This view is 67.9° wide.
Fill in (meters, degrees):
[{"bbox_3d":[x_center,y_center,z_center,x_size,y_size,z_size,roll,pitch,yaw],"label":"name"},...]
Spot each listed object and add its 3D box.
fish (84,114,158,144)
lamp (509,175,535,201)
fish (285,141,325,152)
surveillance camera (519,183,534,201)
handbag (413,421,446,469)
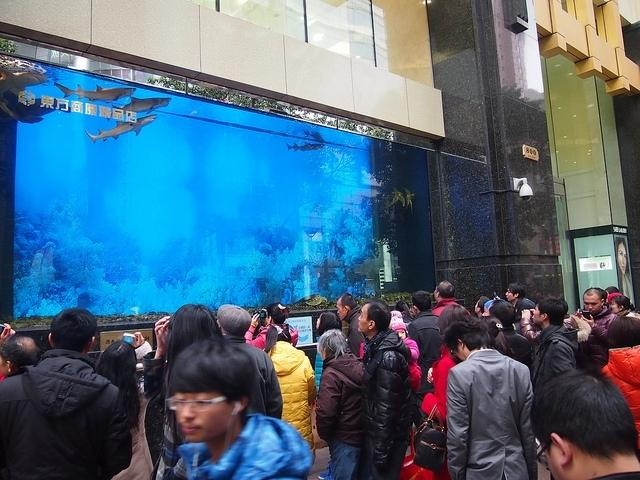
[{"bbox_3d":[-3.402,-1.896,8.004,0.891,0.211,0.214,-32,-34,-31],"label":"fish"},{"bbox_3d":[4.621,-1.211,11.070,0.441,0.654,0.537,5,-9,-31],"label":"lamp"},{"bbox_3d":[-0.299,-2.067,10.488,0.926,0.258,0.105,2,-7,-34],"label":"fish"},{"bbox_3d":[4.688,-1.122,10.961,0.364,0.402,0.372,-3,-6,2],"label":"surveillance camera"},{"bbox_3d":[0.883,1.757,4.093,0.274,0.364,0.372,5,-7,-1],"label":"handbag"}]
